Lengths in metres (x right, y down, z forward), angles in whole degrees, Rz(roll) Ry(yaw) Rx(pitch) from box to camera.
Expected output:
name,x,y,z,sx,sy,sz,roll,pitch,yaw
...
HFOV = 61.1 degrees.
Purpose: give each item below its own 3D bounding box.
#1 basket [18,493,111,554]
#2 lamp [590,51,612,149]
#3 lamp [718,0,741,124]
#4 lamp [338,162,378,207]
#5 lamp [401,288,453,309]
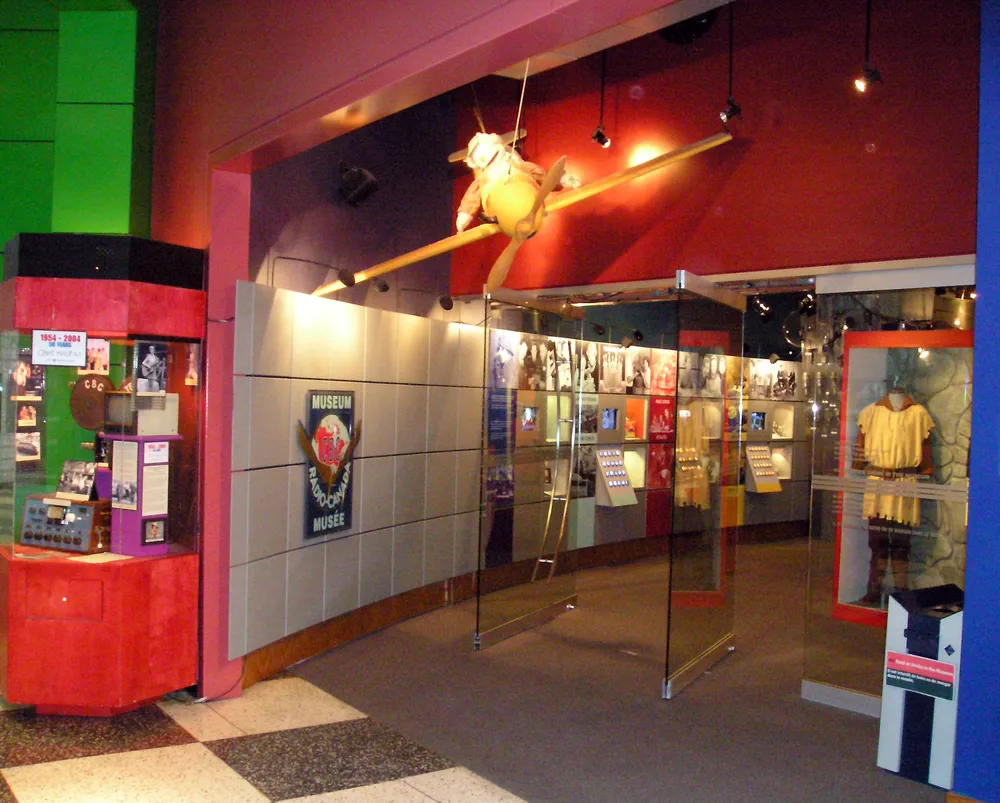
name,x,y,z,sx,sy,sz,roll,pitch,yaw
basket,-2.872,0.806,5.593,0.453,0.335,0.273,6,-4,-2
lamp,0.882,-2.592,7.220,0.166,0.854,0.294,2,4,5
lamp,1.774,-2.580,6.469,0.152,0.934,0.249,2,4,15
lamp,-1.250,-1.884,7.337,0.288,0.309,0.273,35,-9,-1
lamp,-0.637,-0.984,8.197,0.321,0.178,0.710,4,5,26
